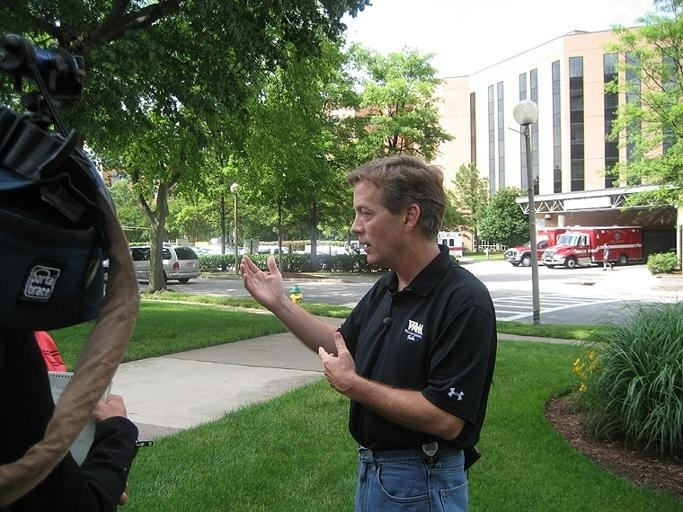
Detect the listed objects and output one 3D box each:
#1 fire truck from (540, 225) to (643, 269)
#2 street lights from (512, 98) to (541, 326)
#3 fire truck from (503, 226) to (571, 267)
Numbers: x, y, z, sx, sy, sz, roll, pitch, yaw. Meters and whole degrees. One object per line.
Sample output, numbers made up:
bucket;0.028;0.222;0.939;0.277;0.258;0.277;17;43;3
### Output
fire truck;17.204;-0.775;38.661;7.444;3.447;3.229;2;-4;-23
street lights;4.361;-1.567;12.773;0.613;3.790;0.500;-5;2;4
fire truck;14.264;-0.770;40.354;4.613;2.672;1.995;-2;7;-25
